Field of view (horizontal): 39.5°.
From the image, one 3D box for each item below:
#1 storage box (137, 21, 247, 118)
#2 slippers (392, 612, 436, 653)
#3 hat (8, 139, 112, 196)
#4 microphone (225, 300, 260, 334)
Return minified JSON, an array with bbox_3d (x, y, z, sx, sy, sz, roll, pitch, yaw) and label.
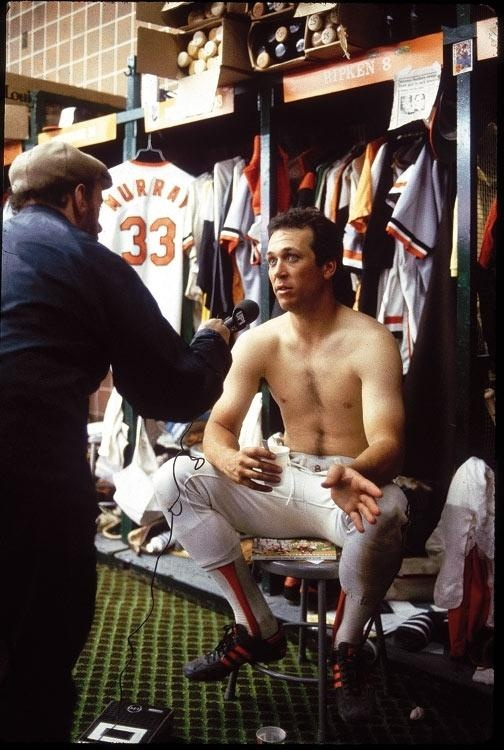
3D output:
[{"bbox_3d":[-0.254,-1.208,2.885,0.484,0.312,0.465,-11,25,-13],"label":"storage box"},{"bbox_3d":[0.533,0.830,2.297,0.073,0.048,0.135,-25,4,24],"label":"slippers"},{"bbox_3d":[-0.409,-0.446,1.484,0.163,0.065,0.120,-13,27,-24],"label":"hat"},{"bbox_3d":[-0.039,-0.145,1.890,0.045,0.060,0.169,35,31,5],"label":"microphone"}]
